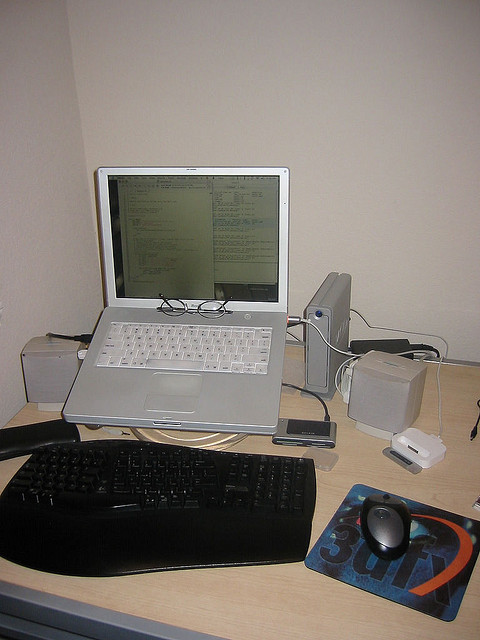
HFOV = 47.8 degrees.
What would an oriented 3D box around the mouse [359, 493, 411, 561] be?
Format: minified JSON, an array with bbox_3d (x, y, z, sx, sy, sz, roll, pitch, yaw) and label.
[{"bbox_3d":[0.195,0.276,0.738,0.069,0.030,0.117,5,19,14],"label":"mouse"}]

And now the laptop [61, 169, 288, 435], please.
[{"bbox_3d":[-0.097,-0.051,0.920,0.383,0.282,0.412,-1,35,1],"label":"laptop"}]
